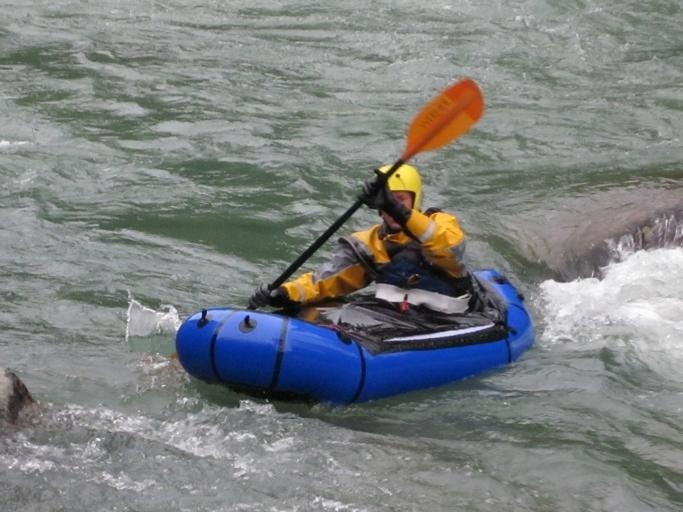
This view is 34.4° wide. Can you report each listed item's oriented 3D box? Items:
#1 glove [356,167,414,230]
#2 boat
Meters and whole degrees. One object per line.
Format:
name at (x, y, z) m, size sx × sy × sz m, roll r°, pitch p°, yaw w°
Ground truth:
glove at (0.402, -0.535, 10.625) m, size 0.651 × 0.253 × 0.492 m, roll 44°, pitch 54°, yaw -1°
boat at (0.123, 0.709, 10.582) m, size 2.395 × 1.076 × 2.330 m, roll 3°, pitch 9°, yaw 32°
